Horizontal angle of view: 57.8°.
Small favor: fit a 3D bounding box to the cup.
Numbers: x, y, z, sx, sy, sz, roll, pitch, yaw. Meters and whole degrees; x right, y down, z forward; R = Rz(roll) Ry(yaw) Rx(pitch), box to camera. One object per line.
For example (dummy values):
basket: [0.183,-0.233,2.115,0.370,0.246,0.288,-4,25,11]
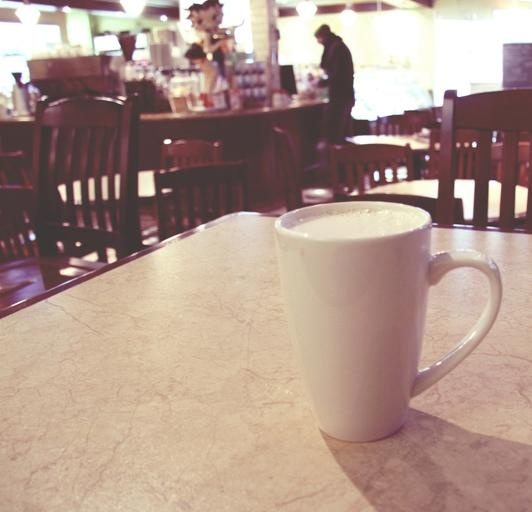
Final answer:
cup: [0.085,0.050,0.376,0.152,0.174,0.101,-6,15,-13]
